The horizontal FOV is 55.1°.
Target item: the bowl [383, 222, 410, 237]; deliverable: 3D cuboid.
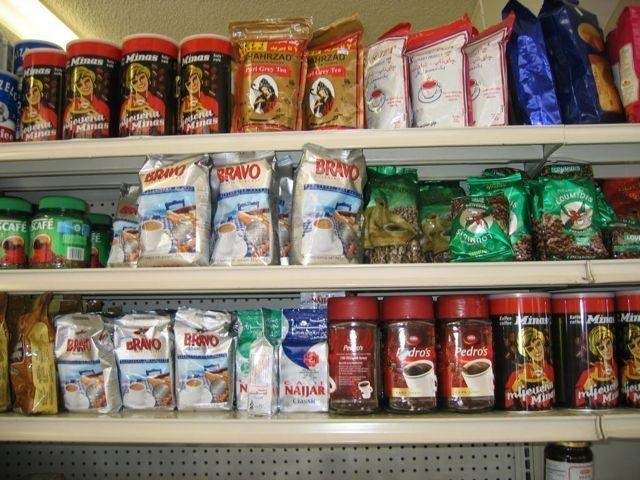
[{"bbox_3d":[0.263,-0.042,2.056,0.046,0.019,0.065,-9,20,-38],"label":"bowl"}]
